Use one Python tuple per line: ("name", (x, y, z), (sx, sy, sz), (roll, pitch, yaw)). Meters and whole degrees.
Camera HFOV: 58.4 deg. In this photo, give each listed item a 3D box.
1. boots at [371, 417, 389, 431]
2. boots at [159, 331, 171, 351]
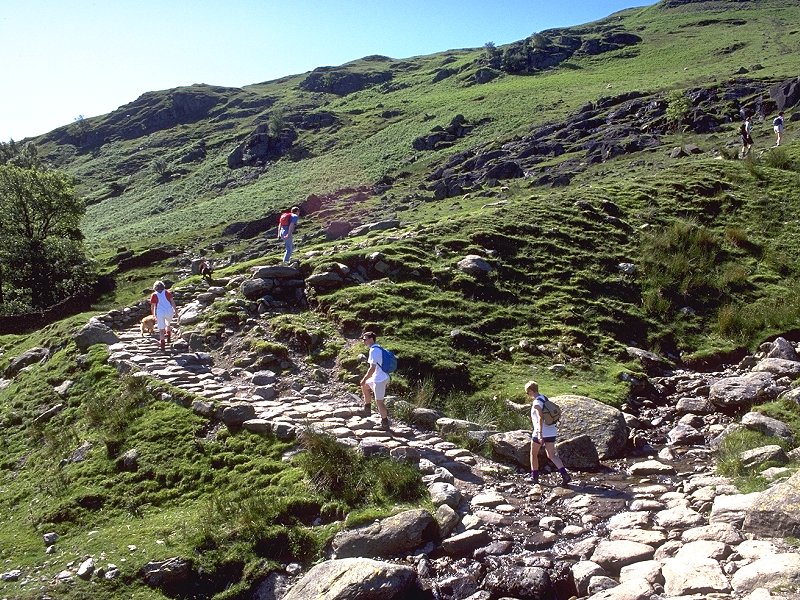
("boots", (-0.631, 4.186, 24.224), (0.453, 0.335, 0.573), (-15, 8, 2))
("boots", (-9.739, 1.669, 29.666), (0.346, 0.429, 1.096), (1, 7, -6))
